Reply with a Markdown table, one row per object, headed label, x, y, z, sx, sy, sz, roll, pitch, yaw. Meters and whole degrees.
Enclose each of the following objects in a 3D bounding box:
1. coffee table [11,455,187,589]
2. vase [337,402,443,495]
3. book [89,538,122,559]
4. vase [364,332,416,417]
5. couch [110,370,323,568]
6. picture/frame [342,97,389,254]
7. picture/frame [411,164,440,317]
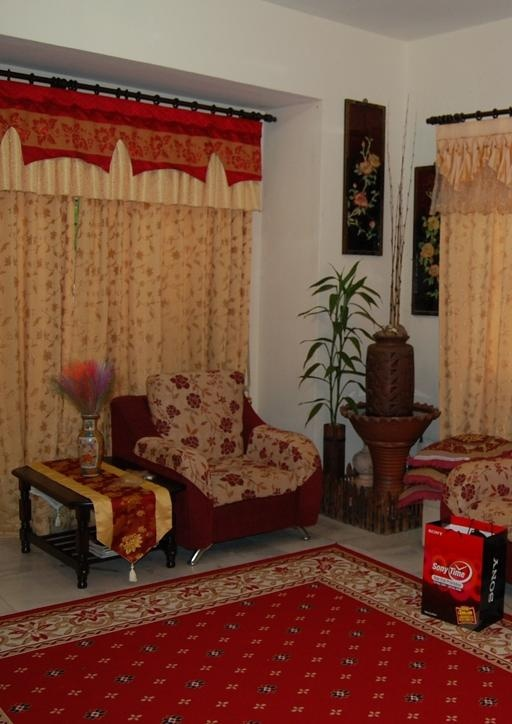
| label | x | y | z | sx | sy | sz | roll | pitch | yaw |
| --- | --- | --- | --- | --- | --- | --- | --- | --- | --- |
| coffee table | -0.824 | 0.778 | 3.033 | 0.775 | 0.403 | 0.663 | 7 | 5 | 43 |
| vase | 0.863 | 0.586 | 3.889 | 0.629 | 0.493 | 0.579 | 2 | -4 | -7 |
| book | -0.767 | 0.914 | 2.953 | 0.130 | 0.037 | 0.126 | -1 | 3 | -43 |
| vase | 0.835 | 0.111 | 3.781 | 0.286 | 0.444 | 0.181 | 0 | -2 | 10 |
| couch | -0.245 | 0.537 | 3.525 | 1.186 | 0.796 | 1.194 | 5 | 7 | 16 |
| picture/frame | 0.755 | -1.281 | 4.244 | 0.475 | 1.057 | 0.176 | 3 | -3 | -43 |
| picture/frame | 1.238 | -0.876 | 4.365 | 0.140 | 1.089 | 0.354 | 2 | -3 | -18 |
